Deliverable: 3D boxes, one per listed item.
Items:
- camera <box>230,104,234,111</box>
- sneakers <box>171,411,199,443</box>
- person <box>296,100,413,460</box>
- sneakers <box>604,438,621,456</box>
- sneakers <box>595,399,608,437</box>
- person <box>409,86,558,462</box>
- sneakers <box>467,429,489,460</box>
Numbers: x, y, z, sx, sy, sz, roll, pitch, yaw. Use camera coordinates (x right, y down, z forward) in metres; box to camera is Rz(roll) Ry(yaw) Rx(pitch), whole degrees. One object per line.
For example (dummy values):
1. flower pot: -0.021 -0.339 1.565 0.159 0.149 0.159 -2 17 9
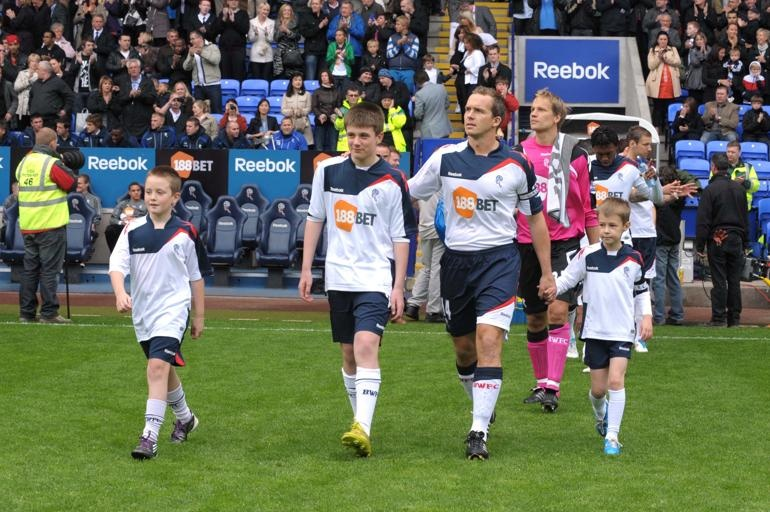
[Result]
1. camera: -3.026 -2.933 20.675 0.078 0.104 0.031 -2 4 3
2. sneakers: -2.061 1.759 10.927 0.139 0.182 0.423 -10 19 38
3. person: -0.345 0.189 10.730 1.011 3.433 1.144 7 13 29
4. sneakers: 2.300 1.910 10.644 0.178 0.140 0.181 2 12 7
5. sneakers: 2.273 1.690 11.010 0.120 0.368 0.155 3 11 32
6. person: 1.085 0.083 10.903 1.076 3.595 1.152 -7 14 -30
7. sneakers: 0.924 1.875 10.519 0.227 0.261 0.157 1 12 4
